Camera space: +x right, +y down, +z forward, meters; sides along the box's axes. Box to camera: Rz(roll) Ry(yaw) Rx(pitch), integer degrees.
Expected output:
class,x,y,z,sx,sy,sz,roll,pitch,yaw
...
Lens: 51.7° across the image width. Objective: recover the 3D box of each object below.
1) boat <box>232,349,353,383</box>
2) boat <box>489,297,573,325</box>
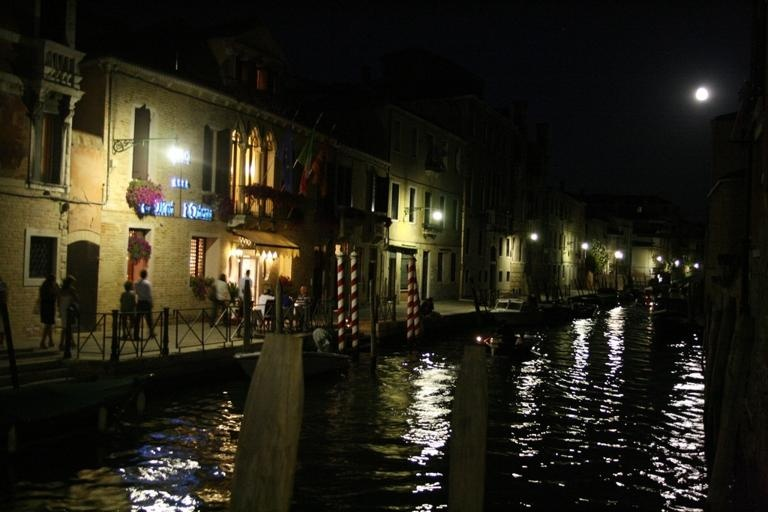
class,x,y,z,sx,sy,sz,roll,pitch,yaw
boat,-2.948,3.863,27.967,4.275,1.048,1.892,13,-10,-41
boat,9.323,3.516,48.535,2.245,1.441,7.960,-1,-7,33
